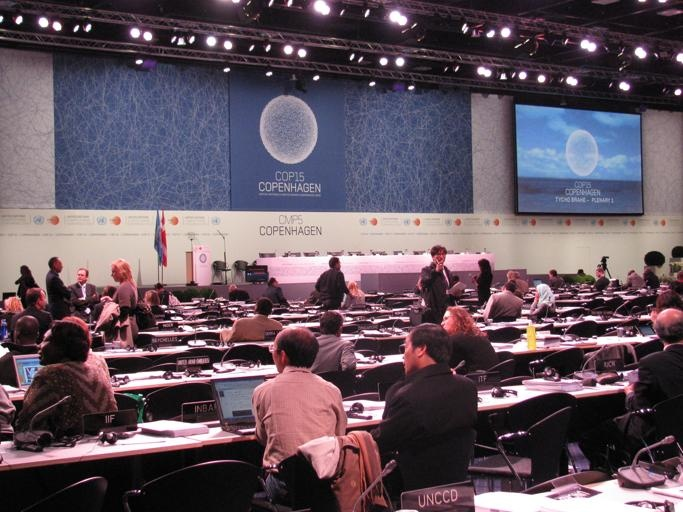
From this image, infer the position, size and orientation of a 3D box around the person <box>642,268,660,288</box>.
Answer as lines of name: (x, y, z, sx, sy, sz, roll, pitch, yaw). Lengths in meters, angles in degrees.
person: (9.610, 0.598, 18.979, 0.401, 0.499, 3.388, -1, 2, 27)

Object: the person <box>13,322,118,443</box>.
person: (-2.062, 0.920, 4.720, 0.577, 0.898, 0.694, 5, 8, 14)

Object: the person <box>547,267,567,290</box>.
person: (6.468, 0.658, 18.399, 0.363, 0.620, 1.745, -1, 2, 21)

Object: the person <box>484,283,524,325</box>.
person: (3.052, 0.891, 11.461, 0.460, 1.142, 0.395, 10, 5, 4)

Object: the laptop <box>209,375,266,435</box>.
laptop: (-0.791, 1.100, 4.722, 0.406, 0.358, 0.300, 2, 11, -26)

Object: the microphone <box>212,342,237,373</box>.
microphone: (-1.333, 1.129, 6.959, 0.197, 0.282, 0.274, -3, -4, 26)

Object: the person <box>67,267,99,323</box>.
person: (-5.810, 1.127, 13.984, 0.550, 1.769, 0.532, -2, 23, -14)

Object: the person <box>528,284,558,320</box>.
person: (4.162, 0.948, 12.524, 0.440, 0.857, 0.588, 9, 22, 34)

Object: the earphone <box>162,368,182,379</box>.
earphone: (-1.780, 1.196, 6.372, 0.149, 0.069, 0.109, 2, -2, 26)

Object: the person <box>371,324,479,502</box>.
person: (0.559, 0.984, 4.096, 0.744, 1.024, 0.380, -2, 1, -9)

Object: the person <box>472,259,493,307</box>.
person: (3.290, 0.456, 14.333, 0.400, 0.407, 1.479, 15, -28, 19)

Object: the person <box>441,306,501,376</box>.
person: (1.395, 0.958, 6.890, 0.489, 0.832, 0.607, -11, -1, 29)

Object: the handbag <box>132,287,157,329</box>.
handbag: (-3.385, 0.896, 10.581, 0.421, 0.595, 1.011, -4, -25, -13)

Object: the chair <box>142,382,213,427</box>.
chair: (-1.436, 1.240, 5.376, 0.430, 0.336, 0.514, -2, -3, 31)

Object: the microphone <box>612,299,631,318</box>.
microphone: (5.893, 1.083, 12.883, 0.253, 0.362, 0.268, -3, 0, 38)
